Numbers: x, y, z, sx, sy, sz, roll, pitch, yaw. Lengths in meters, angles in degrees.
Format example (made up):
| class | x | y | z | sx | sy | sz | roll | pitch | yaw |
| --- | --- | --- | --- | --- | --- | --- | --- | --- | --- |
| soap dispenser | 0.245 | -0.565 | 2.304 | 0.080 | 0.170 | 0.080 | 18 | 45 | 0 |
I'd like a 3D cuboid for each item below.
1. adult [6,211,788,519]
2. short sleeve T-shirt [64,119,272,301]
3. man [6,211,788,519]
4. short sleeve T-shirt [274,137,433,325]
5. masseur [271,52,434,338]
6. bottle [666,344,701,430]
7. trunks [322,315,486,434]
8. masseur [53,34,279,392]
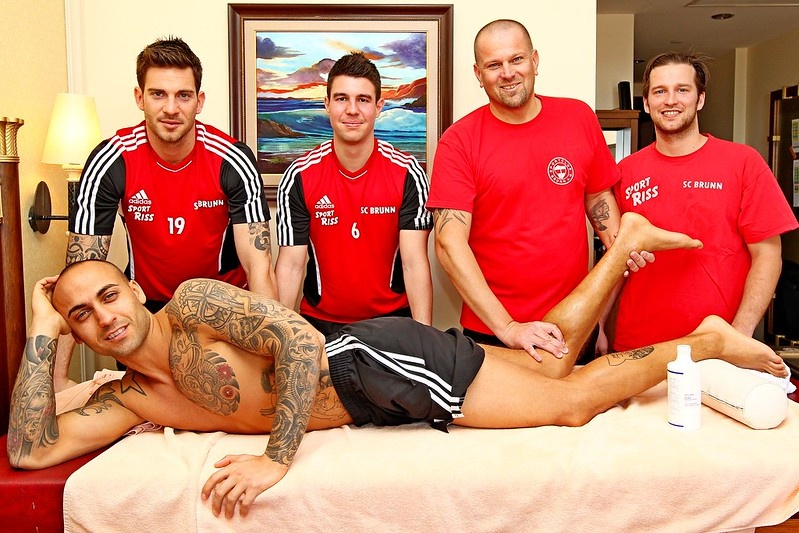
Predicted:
| class | x | y | z | sx | sy | sz | roll | pitch | yaw |
| --- | --- | --- | --- | --- | --- | --- | --- | --- | --- |
| adult | 0.362 | 0.331 | 2.807 | 3.506 | 1.151 | 1.024 | -6 | -8 | -13 |
| short sleeve T-shirt | -1.024 | -0.237 | 2.655 | 0.800 | 0.667 | 0.365 | -2 | 15 | -8 |
| man | 0.284 | 0.387 | 2.773 | 3.506 | 1.151 | 1.024 | -6 | -8 | -13 |
| short sleeve T-shirt | -0.215 | -0.142 | 2.901 | 0.850 | 0.995 | 0.509 | -1 | 10 | -3 |
| masseur | -0.244 | -0.268 | 2.911 | 0.849 | 1.397 | 0.761 | -2 | 12 | -13 |
| bottle | 1.063 | 0.447 | 2.233 | 0.121 | 0.306 | 0.078 | -2 | 10 | -3 |
| trunks | 0.007 | 0.366 | 2.248 | 0.480 | 0.218 | 0.403 | -5 | 6 | 2 |
| masseur | -1.021 | -0.120 | 2.735 | 0.960 | 1.589 | 0.875 | -1 | 23 | -16 |
